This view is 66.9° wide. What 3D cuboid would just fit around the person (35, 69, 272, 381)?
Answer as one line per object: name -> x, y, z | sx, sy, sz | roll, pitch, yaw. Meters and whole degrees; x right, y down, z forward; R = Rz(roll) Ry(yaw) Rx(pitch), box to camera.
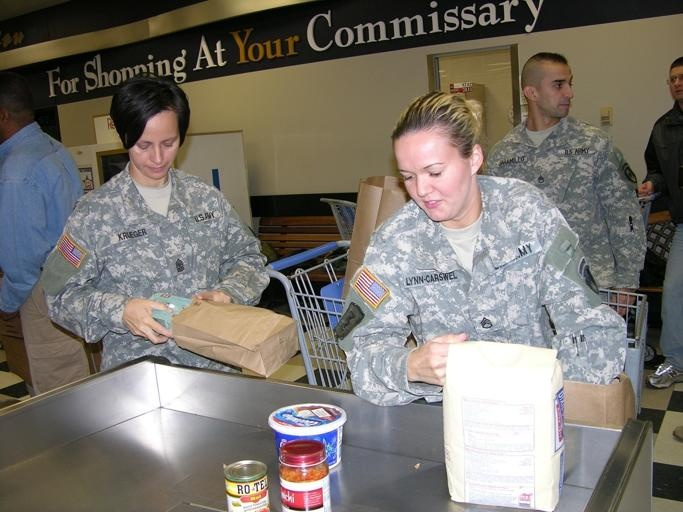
person -> -0.721, -0.081, 2.100 | 0.895, 1.286, 0.552 | -10, 13, -31
